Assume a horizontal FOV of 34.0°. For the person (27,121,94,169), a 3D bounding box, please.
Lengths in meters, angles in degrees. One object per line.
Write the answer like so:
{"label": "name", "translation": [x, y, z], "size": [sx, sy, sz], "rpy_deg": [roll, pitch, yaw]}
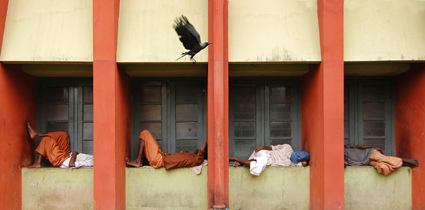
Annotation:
{"label": "person", "translation": [-4.631, 1.385, 21.312], "size": [2.524, 0.973, 0.936], "rpy_deg": [15, 33, -2]}

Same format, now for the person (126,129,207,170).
{"label": "person", "translation": [-1.479, 1.381, 20.835], "size": [2.883, 1.100, 0.974], "rpy_deg": [3, -16, 1]}

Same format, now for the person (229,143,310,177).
{"label": "person", "translation": [1.525, 1.665, 21.059], "size": [1.801, 0.485, 1.106], "rpy_deg": [-5, 20, -7]}

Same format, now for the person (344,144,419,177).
{"label": "person", "translation": [5.039, 1.658, 21.066], "size": [1.866, 0.609, 0.976], "rpy_deg": [0, 12, 13]}
